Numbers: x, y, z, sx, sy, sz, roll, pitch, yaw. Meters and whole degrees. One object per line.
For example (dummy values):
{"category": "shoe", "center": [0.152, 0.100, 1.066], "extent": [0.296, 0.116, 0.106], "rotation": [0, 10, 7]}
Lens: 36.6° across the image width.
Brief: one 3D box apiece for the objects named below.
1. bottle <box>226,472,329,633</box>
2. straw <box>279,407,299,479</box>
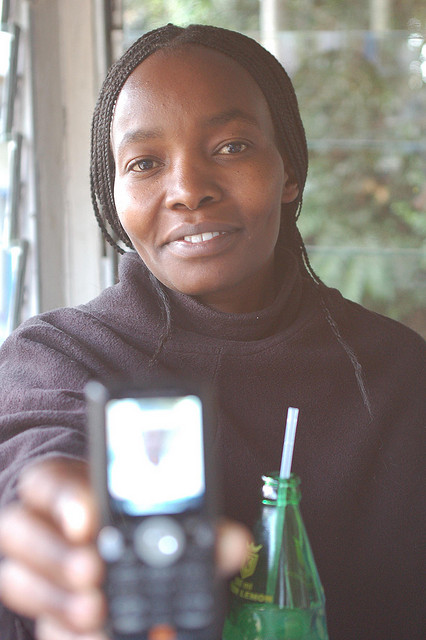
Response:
{"category": "bottle", "center": [0.047, 0.185, 0.487], "extent": [0.069, 0.118, 0.065], "rotation": [-2, 22, 1]}
{"category": "straw", "center": [0.064, 0.106, 0.541], "extent": [0.011, 0.069, 0.010], "rotation": [2, 22, -6]}
